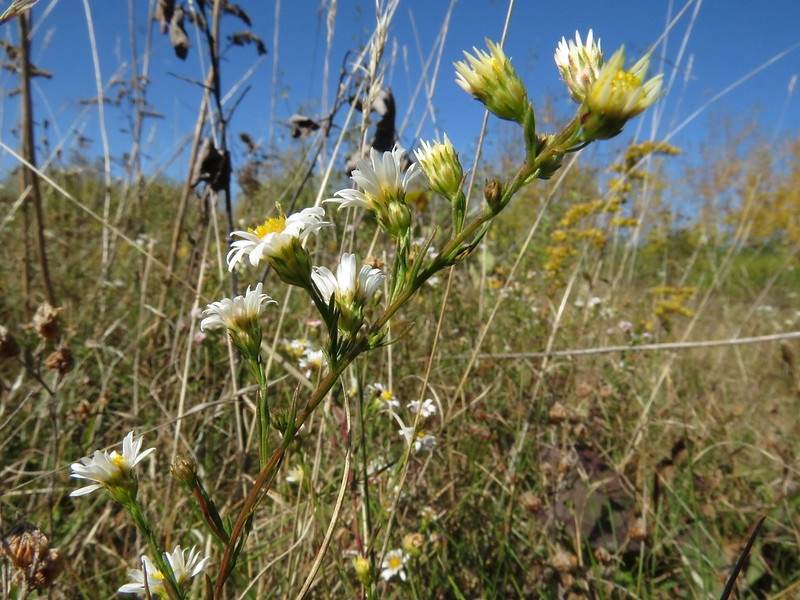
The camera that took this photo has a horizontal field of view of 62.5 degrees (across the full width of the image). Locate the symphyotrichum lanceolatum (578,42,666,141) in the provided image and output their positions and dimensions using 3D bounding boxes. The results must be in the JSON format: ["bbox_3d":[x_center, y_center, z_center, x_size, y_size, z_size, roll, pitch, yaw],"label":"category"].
[{"bbox_3d":[0.638,-0.581,1.946,0.155,0.364,0.189,-36,42,-14],"label":"symphyotrichum lanceolatum"}]

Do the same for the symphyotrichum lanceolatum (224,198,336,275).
[{"bbox_3d":[-0.404,-0.206,2.050,0.278,0.246,0.324,-7,23,-44],"label":"symphyotrichum lanceolatum"}]

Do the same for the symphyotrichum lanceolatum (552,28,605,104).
[{"bbox_3d":[0.568,-0.700,2.065,0.109,0.226,0.152,0,-23,-8],"label":"symphyotrichum lanceolatum"}]

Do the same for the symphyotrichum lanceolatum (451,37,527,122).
[{"bbox_3d":[0.299,-0.657,2.077,0.141,0.157,0.294,21,-8,35],"label":"symphyotrichum lanceolatum"}]

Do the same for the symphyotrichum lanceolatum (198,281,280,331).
[{"bbox_3d":[-0.513,0.034,2.133,0.236,0.137,0.233,-3,15,44],"label":"symphyotrichum lanceolatum"}]

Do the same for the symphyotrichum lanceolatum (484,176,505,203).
[{"bbox_3d":[0.283,-0.336,1.990,0.058,0.083,0.190,10,17,6],"label":"symphyotrichum lanceolatum"}]

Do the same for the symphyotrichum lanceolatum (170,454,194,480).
[{"bbox_3d":[-0.658,0.515,1.998,0.076,0.087,0.066,4,15,-16],"label":"symphyotrichum lanceolatum"}]

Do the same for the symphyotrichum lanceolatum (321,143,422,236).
[{"bbox_3d":[-0.095,-0.365,2.106,0.259,0.271,0.240,6,16,-13],"label":"symphyotrichum lanceolatum"}]

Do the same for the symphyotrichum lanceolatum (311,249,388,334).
[{"bbox_3d":[-0.170,-0.029,2.058,0.223,0.223,0.134,8,14,-6],"label":"symphyotrichum lanceolatum"}]

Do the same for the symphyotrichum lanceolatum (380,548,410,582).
[{"bbox_3d":[-0.023,1.026,2.584,0.105,0.050,0.132,-17,39,12],"label":"symphyotrichum lanceolatum"}]
